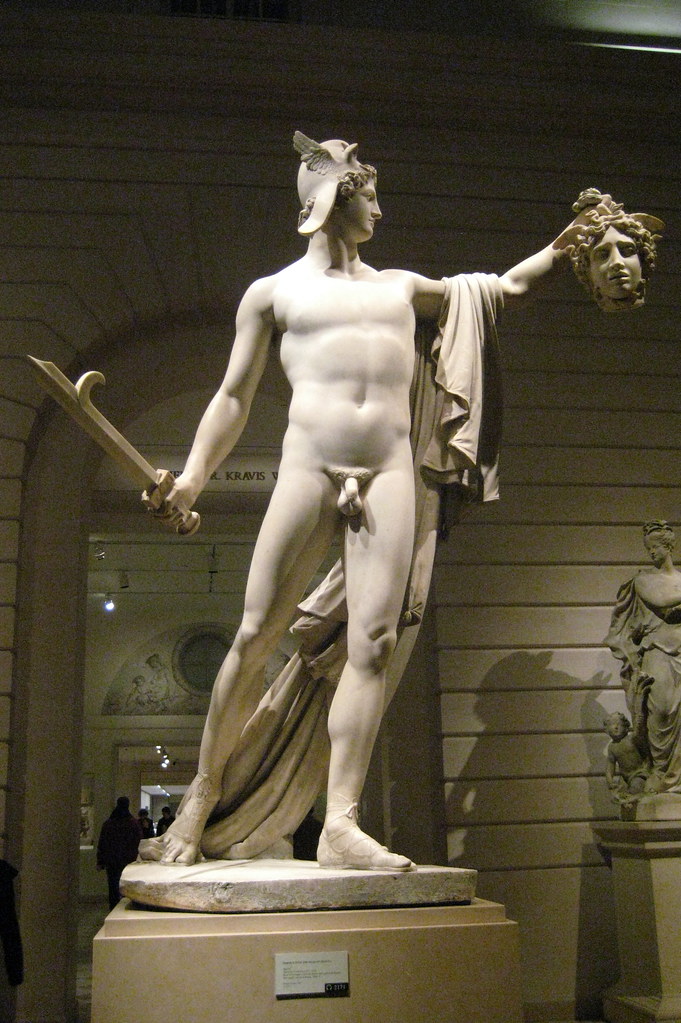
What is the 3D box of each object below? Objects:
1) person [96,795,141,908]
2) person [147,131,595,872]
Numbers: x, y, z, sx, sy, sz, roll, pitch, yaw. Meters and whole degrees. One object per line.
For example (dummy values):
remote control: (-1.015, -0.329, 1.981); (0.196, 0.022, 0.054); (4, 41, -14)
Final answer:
person: (-1.512, 2.383, 9.163); (0.293, 0.778, 1.277); (1, -6, -8)
person: (-0.039, -0.070, 4.230); (1.041, 2.309, 0.632); (-1, -7, 17)
